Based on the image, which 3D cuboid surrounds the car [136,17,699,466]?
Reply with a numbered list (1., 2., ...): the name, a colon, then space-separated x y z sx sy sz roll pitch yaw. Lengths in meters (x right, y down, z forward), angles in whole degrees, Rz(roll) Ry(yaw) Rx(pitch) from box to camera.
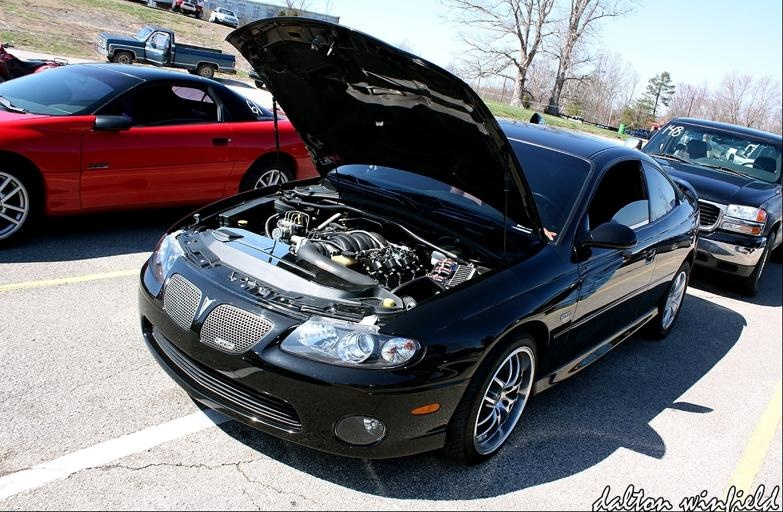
1. car: 0.969 -0.564 4.732 3.378 2.453 6.056 24 29 37
